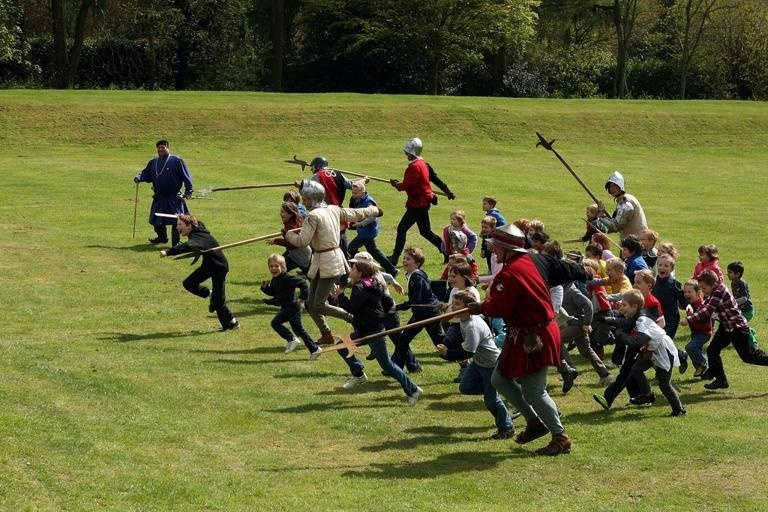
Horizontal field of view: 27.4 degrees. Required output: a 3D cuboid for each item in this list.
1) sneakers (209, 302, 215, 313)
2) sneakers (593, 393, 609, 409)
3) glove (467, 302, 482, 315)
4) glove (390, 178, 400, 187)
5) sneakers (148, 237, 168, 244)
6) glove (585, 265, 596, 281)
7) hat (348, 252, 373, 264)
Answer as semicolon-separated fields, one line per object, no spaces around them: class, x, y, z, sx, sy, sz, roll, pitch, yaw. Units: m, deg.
sneakers;-6.036;1.867;55.486;0.222;0.204;0.560;2;6;-5
sneakers;7.024;4.742;51.230;0.603;0.188;0.292;37;40;13
glove;2.842;1.675;49.705;0.442;0.314;0.382;-2;7;-8
glove;0.427;-2.742;58.812;0.337;0.249;0.461;-1;6;-45
sneakers;-8.647;-0.603;60.587;0.779;0.242;0.225;5;9;4
glove;6.690;0.567;51.609;0.236;0.437;0.352;-32;32;-4
hat;-0.702;0.037;51.930;0.663;0.246;0.376;0;-4;-6
